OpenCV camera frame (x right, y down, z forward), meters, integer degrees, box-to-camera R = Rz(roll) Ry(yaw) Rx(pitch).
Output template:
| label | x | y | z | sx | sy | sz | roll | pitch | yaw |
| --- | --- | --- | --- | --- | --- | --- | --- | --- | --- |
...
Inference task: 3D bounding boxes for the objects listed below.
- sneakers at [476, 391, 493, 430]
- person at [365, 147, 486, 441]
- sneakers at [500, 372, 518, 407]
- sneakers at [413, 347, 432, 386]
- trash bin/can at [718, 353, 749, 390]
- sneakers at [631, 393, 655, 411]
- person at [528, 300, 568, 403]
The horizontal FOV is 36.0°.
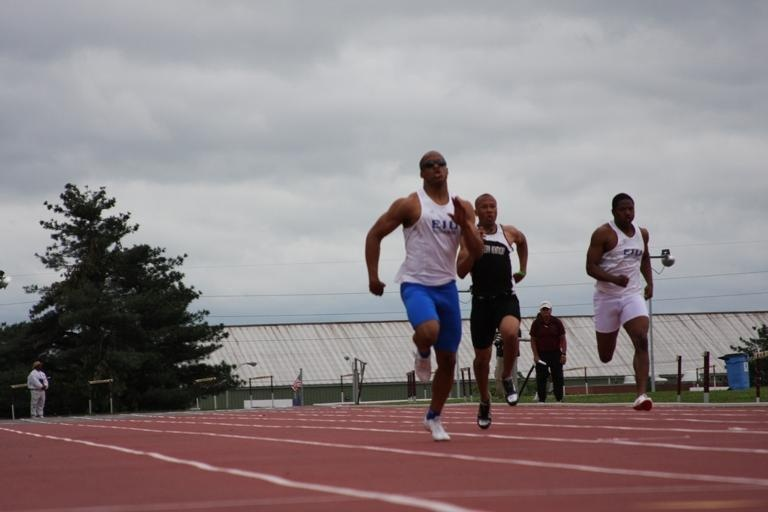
| label | x | y | z | sx | sy | sz | roll | pitch | yaw |
| --- | --- | --- | --- | --- | --- | --- | --- | --- | --- |
| sneakers | 1.219 | 1.917 | 14.394 | 0.141 | 0.394 | 0.160 | -1 | -6 | 6 |
| person | 0.467 | 0.488 | 12.939 | 1.203 | 3.270 | 1.075 | 0 | 7 | 4 |
| sneakers | 1.602 | 1.817 | 15.489 | 0.188 | 0.537 | 0.233 | -10 | 5 | 13 |
| sneakers | 0.431 | 1.258 | 13.123 | 0.159 | 0.442 | 0.179 | -4 | 16 | -5 |
| trash bin/can | 7.792 | 2.581 | 26.135 | 0.446 | 0.941 | 1.180 | 1 | 7 | 12 |
| sneakers | 3.406 | 1.947 | 15.546 | 0.161 | 0.174 | 0.388 | 0 | -21 | -7 |
| person | 2.994 | 1.788 | 21.744 | 0.646 | 2.051 | 1.226 | 0 | 7 | 6 |
